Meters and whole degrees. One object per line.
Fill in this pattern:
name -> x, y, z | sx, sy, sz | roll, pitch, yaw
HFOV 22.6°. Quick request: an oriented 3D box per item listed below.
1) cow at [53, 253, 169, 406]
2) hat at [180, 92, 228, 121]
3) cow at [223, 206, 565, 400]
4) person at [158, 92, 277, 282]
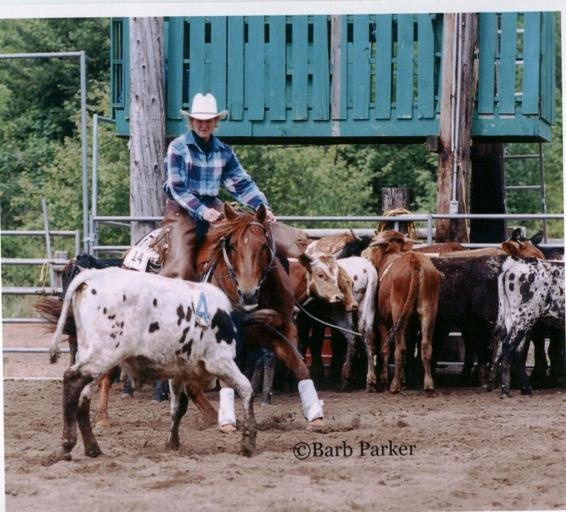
cow -> -1.957, 0.831, 16.466 | 0.344, 1.891, 1.024 | 4, -8, -30
hat -> -1.031, -2.010, 18.769 | 0.554, 0.353, 0.734 | 0, 5, 1
cow -> 1.757, 0.785, 21.019 | 4.185, 2.875, 1.631 | 2, -2, 33
person -> -0.909, -0.748, 17.508 | 1.113, 2.471, 1.125 | -3, 7, -16
